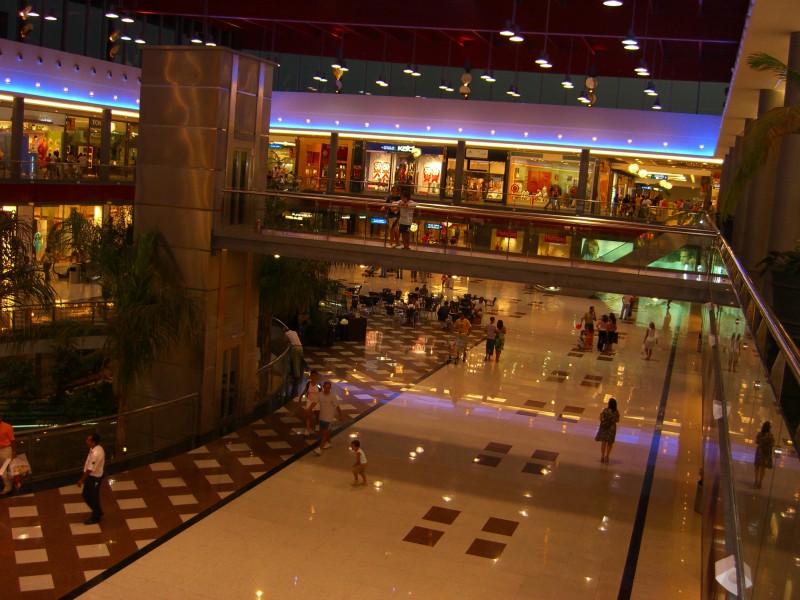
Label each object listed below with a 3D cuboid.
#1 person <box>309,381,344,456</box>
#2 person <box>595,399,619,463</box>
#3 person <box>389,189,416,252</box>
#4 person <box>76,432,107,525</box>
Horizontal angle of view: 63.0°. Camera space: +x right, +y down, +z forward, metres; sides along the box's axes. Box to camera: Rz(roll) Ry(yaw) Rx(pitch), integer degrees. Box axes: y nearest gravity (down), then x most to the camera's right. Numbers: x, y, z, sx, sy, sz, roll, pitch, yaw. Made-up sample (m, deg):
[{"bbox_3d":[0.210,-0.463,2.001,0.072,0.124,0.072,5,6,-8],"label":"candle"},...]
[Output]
[{"bbox_3d":[-1.357,2.050,12.335,0.426,1.310,1.248,2,10,-7],"label":"person"},{"bbox_3d":[3.980,2.351,12.472,0.336,1.295,1.103,6,10,19],"label":"person"},{"bbox_3d":[0.059,-1.535,12.611,0.449,1.053,0.715,3,9,-1],"label":"person"},{"bbox_3d":[-4.303,2.416,9.145,0.271,1.280,0.575,-2,10,-26],"label":"person"}]
